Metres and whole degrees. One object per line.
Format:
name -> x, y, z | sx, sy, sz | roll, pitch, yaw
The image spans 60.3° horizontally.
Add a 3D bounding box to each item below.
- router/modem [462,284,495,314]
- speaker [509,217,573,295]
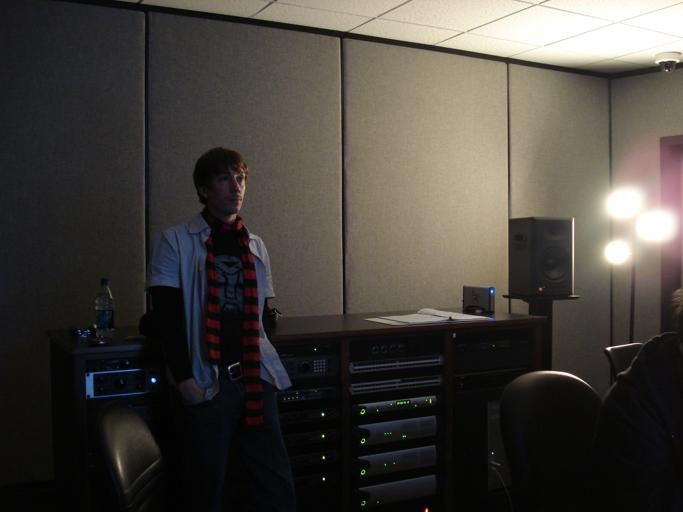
router/modem -> 0.894, 0.289, 3.835 | 0.030, 0.145, 0.176 | 4, -5, -32
speaker -> 1.409, 0.012, 4.148 | 0.434, 0.572, 0.248 | -1, 3, 17
